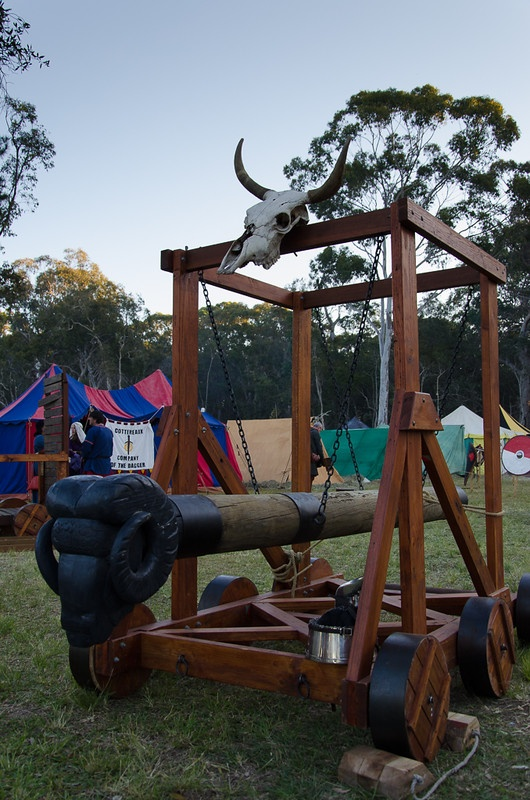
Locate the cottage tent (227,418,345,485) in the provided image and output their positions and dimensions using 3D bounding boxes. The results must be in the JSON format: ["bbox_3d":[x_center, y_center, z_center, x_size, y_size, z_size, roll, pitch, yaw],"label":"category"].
[{"bbox_3d":[0.240,0.971,13.354,2.093,1.360,1.236,-3,-6,25],"label":"cottage tent"}]

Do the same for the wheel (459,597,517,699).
[{"bbox_3d":[0.985,1.114,3.232,0.173,0.414,0.413,-5,-8,32],"label":"wheel"}]

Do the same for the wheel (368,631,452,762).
[{"bbox_3d":[0.508,1.034,2.532,0.176,0.399,0.400,-4,-6,37],"label":"wheel"}]

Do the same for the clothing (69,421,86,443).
[{"bbox_3d":[-2.625,0.459,10.163,0.283,0.292,0.221,1,-13,4],"label":"clothing"}]

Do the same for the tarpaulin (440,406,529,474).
[{"bbox_3d":[4.604,0.893,15.591,2.276,1.547,2.326,1,-6,26],"label":"tarpaulin"}]

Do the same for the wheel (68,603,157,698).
[{"bbox_3d":[-0.686,1.124,3.322,0.235,0.460,0.429,1,-9,18],"label":"wheel"}]

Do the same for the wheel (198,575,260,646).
[{"bbox_3d":[-0.209,1.225,4.181,0.155,0.488,0.486,-1,-14,33],"label":"wheel"}]

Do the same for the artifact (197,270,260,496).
[{"bbox_3d":[-1.079,-0.516,24.399,0.357,9.273,0.641,-20,2,-38],"label":"artifact"}]

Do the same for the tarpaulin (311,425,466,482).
[{"bbox_3d":[3.088,1.505,20.361,2.716,1.434,2.809,-8,-5,40],"label":"tarpaulin"}]
